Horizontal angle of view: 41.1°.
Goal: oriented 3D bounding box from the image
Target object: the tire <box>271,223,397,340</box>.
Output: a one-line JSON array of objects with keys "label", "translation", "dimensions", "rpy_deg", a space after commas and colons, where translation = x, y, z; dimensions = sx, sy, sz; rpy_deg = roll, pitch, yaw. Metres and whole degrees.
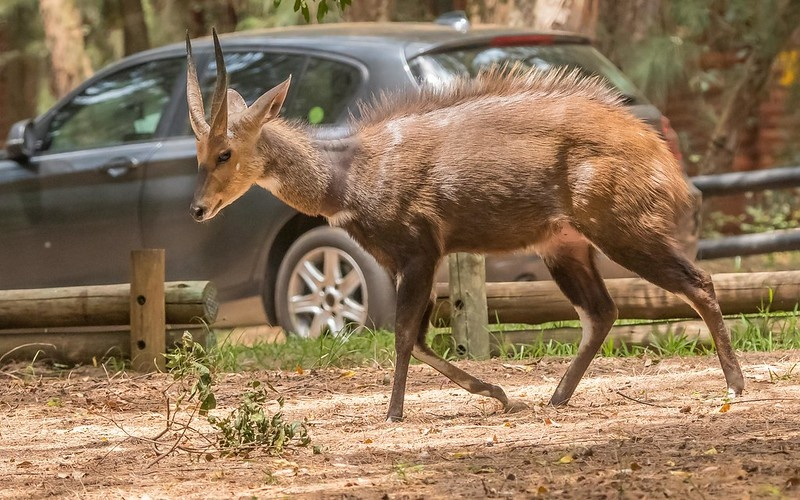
[{"label": "tire", "translation": [-0.888, 0.482, 10.408], "dimensions": [0.492, 1.381, 1.575], "rpy_deg": [-6, -8, 35]}]
